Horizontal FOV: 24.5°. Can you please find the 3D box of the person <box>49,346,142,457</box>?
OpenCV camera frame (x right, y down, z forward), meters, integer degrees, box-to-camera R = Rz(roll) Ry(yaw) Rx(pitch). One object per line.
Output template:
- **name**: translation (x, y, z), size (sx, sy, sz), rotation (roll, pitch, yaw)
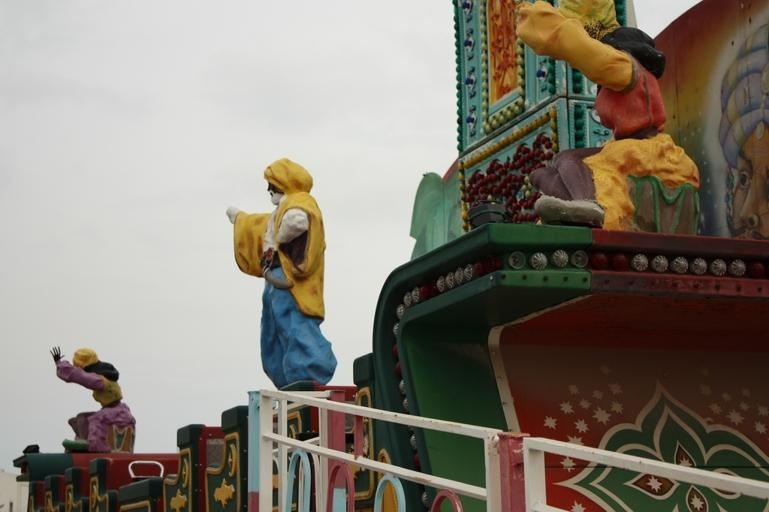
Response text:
- **person**: translation (-4.109, 1.998, 24.678), size (0.861, 1.613, 1.213), rotation (-9, -20, 13)
